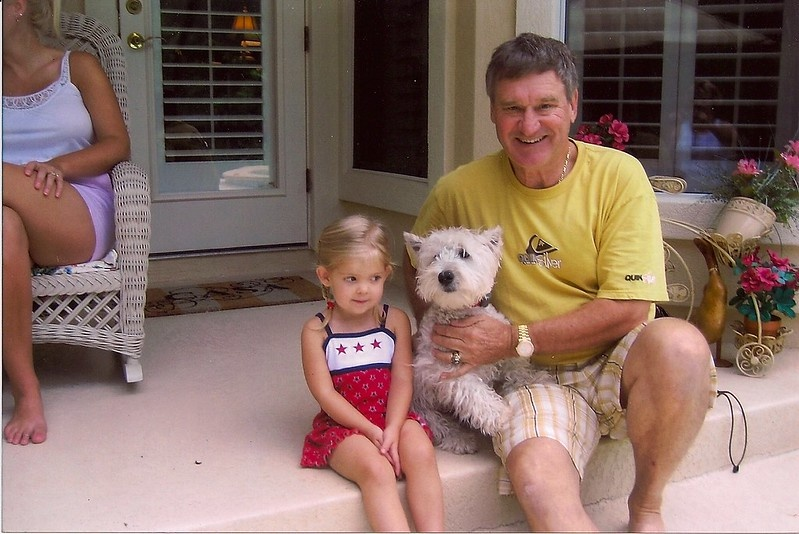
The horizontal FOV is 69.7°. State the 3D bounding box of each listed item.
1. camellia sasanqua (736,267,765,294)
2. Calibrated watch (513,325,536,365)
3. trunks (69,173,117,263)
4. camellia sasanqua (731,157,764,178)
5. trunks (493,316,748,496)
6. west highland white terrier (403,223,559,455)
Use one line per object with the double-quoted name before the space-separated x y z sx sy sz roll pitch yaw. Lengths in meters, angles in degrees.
"camellia sasanqua" 1.614 0.067 2.622 0.105 0.110 0.069 -4 -4 24
"Calibrated watch" 0.434 0.254 1.944 0.065 0.107 0.099 -2 23 25
"trunks" -1.284 -0.199 2.398 0.178 0.332 0.259 11 -32 -44
"camellia sasanqua" 1.690 -0.461 2.811 0.124 0.070 0.123 -4 4 11
"trunks" 0.659 0.497 1.982 0.664 0.648 0.250 9 -14 -8
"west highland white terrier" 0.235 0.217 1.999 0.537 0.682 0.490 -6 6 33
